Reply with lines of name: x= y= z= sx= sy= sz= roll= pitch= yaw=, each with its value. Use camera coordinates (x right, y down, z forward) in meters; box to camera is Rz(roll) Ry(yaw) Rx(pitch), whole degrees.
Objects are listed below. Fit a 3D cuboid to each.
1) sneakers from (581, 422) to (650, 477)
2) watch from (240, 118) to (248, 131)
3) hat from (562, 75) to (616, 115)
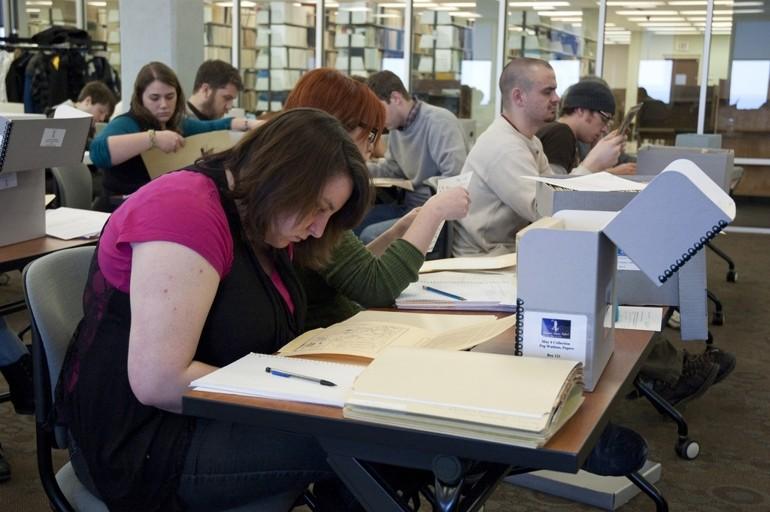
sneakers: x=0.735 y=0.641 z=1.990 sx=0.171 sy=0.193 sz=0.134 roll=-9 pitch=17 yaw=-34
watch: x=-1.129 y=-0.994 z=4.788 sx=0.039 sy=0.106 sz=0.081 roll=7 pitch=-9 yaw=-6
hat: x=1.332 y=-1.018 z=4.092 sx=0.273 sy=0.184 sz=0.281 roll=8 pitch=16 yaw=11
